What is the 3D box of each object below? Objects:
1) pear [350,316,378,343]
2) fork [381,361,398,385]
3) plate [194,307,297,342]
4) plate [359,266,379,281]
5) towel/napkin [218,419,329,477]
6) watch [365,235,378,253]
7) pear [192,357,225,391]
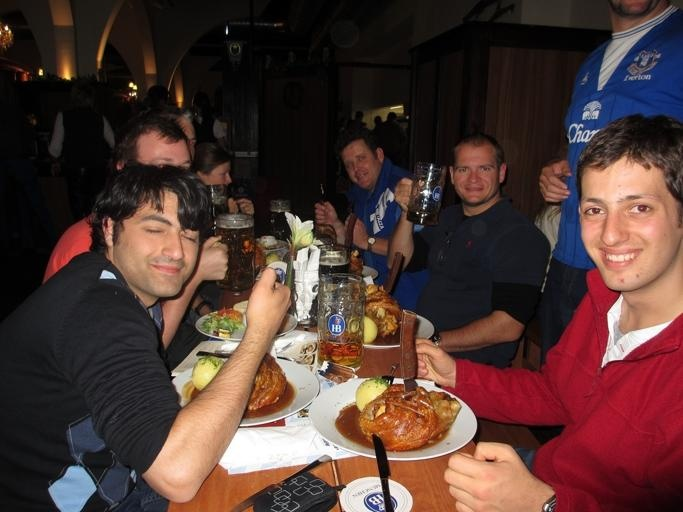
[{"bbox_3d":[0.099,0.306,2.020,0.112,0.141,0.114,0,7,-2],"label":"pear"},{"bbox_3d":[0.171,0.421,1.741,0.029,0.017,0.111,6,23,20],"label":"fork"},{"bbox_3d":[-0.491,0.307,2.177,0.223,0.041,0.222,-5,15,-26],"label":"plate"},{"bbox_3d":[0.169,0.105,3.077,0.081,0.022,0.081,4,32,-8],"label":"plate"},{"bbox_3d":[-0.199,0.561,1.433,0.215,0.054,0.133,-4,38,-17],"label":"towel/napkin"},{"bbox_3d":[0.209,-0.094,3.561,0.058,0.090,0.085,11,-8,4],"label":"watch"},{"bbox_3d":[-0.435,0.388,1.597,0.095,0.076,0.072,-32,16,-26],"label":"pear"}]
